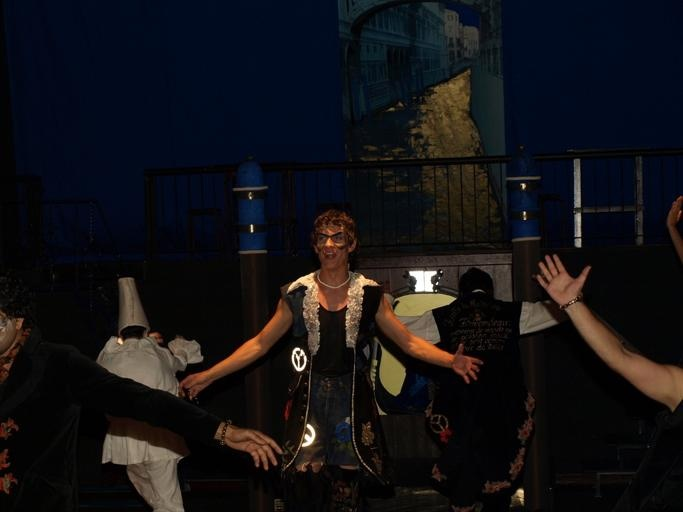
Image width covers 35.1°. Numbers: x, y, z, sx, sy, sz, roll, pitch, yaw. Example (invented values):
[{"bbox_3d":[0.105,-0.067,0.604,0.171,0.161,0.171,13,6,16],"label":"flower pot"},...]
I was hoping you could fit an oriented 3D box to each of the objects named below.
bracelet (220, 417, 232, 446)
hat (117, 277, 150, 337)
[{"bbox_3d":[-0.921,1.414,8.663,0.036,0.166,0.111,6,3,4],"label":"bracelet"},{"bbox_3d":[-2.038,0.479,10.534,0.228,0.655,0.219,-4,-14,-7],"label":"hat"}]
